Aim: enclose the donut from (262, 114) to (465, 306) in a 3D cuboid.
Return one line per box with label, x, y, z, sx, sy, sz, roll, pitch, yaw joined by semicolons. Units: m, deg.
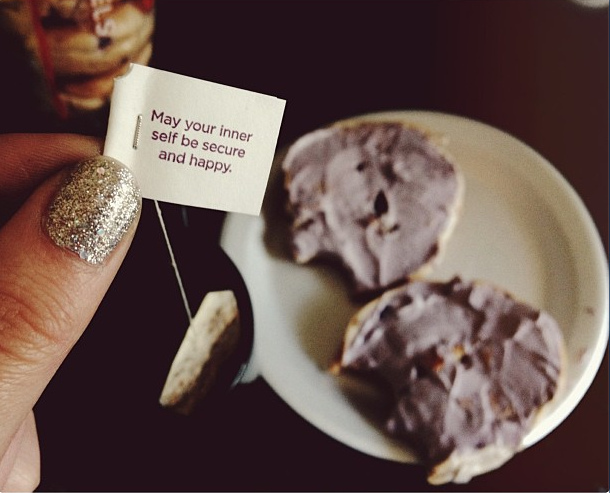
donut;0.081;-0.062;0.909;0.264;0.079;0.249;23;79;8
